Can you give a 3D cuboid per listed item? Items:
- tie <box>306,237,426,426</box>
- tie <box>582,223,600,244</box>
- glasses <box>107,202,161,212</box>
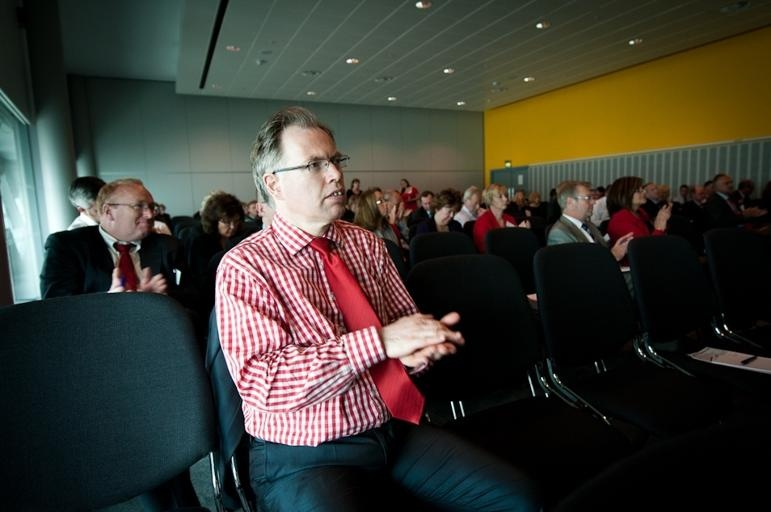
[{"bbox_3d":[-0.130,0.192,2.563,0.060,1.226,0.279,-15,-31,-21],"label":"tie"},{"bbox_3d":[1.689,-0.171,4.305,0.040,0.070,0.181,-26,-48,31],"label":"tie"},{"bbox_3d":[-1.663,-0.309,3.407,0.215,0.065,0.214,1,3,24],"label":"glasses"}]
